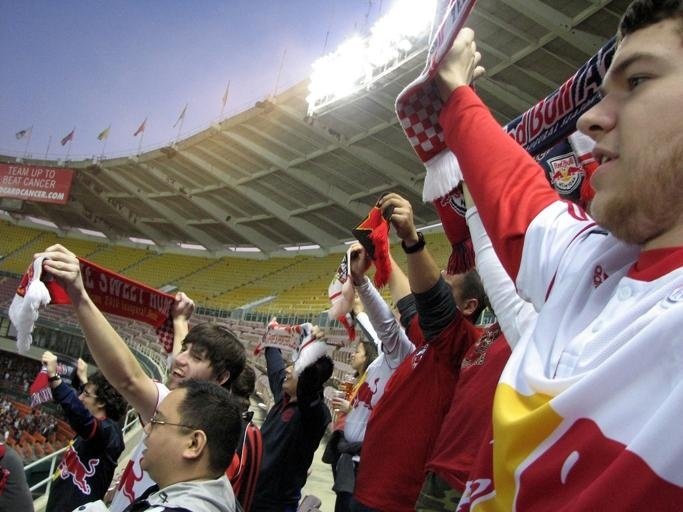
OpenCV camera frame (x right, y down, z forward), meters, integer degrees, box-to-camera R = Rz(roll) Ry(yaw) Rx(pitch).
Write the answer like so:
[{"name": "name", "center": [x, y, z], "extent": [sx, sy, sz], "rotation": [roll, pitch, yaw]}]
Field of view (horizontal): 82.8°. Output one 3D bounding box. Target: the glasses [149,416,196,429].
[{"name": "glasses", "center": [-0.752, 0.733, 1.692], "extent": [0.107, 0.033, 0.108], "rotation": [15, -15, -3]}]

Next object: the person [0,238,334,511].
[{"name": "person", "center": [-1.064, 0.717, 2.197], "extent": [0.781, 1.405, 1.183], "rotation": [-8, -15, 13]}]

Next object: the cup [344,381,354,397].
[{"name": "cup", "center": [0.086, 1.720, 4.980], "extent": [0.133, 0.176, 0.067], "rotation": [1, -22, 23]}]
